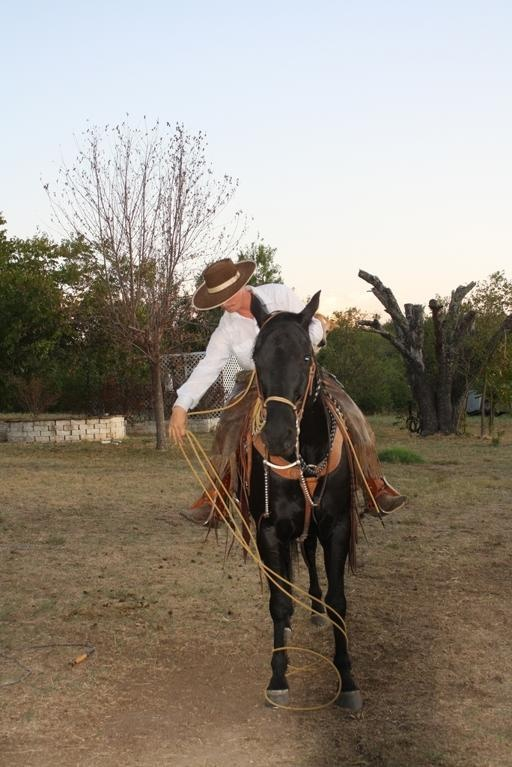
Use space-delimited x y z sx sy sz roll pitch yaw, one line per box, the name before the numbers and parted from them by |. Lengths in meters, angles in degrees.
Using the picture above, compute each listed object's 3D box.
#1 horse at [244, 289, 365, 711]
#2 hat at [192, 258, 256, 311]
horse | 0.271 0.685 3.469 0.642 2.363 1.256 0 1 3
hat | -0.208 -0.624 3.894 0.391 0.350 0.460 0 0 -3
